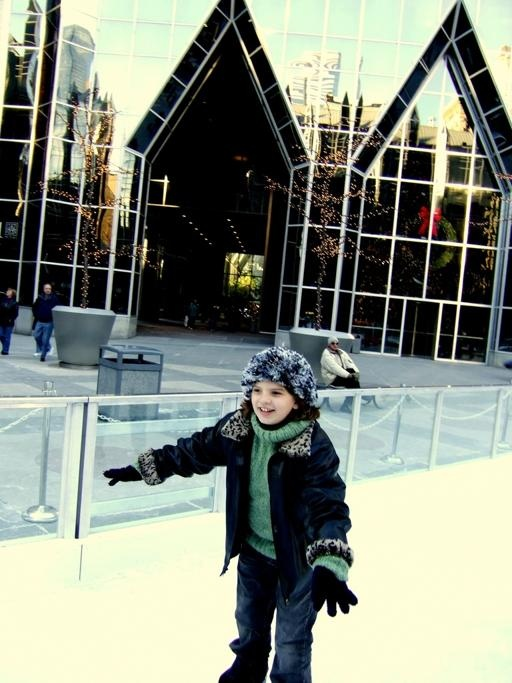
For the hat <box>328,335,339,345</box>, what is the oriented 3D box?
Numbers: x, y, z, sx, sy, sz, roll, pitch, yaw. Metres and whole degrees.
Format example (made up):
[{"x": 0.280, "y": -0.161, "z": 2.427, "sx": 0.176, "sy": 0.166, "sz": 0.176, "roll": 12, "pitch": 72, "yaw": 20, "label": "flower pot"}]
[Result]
[{"x": 1.458, "y": -0.034, "z": 10.032, "sx": 0.166, "sy": 0.186, "sz": 0.229, "roll": 6, "pitch": 2, "yaw": -1, "label": "hat"}]

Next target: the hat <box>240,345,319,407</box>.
[{"x": 0.095, "y": 0.135, "z": 1.985, "sx": 0.245, "sy": 0.205, "sz": 0.214, "roll": 1, "pitch": -12, "yaw": 20, "label": "hat"}]

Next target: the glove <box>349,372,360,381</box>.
[{"x": 1.766, "y": 0.631, "z": 9.756, "sx": 0.128, "sy": 0.161, "sz": 0.073, "roll": -5, "pitch": 4, "yaw": -24, "label": "glove"}]

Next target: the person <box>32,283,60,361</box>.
[{"x": -5.347, "y": -0.509, "z": 13.676, "sx": 0.556, "sy": 1.933, "sz": 1.265, "roll": 6, "pitch": 4, "yaw": -22, "label": "person"}]
